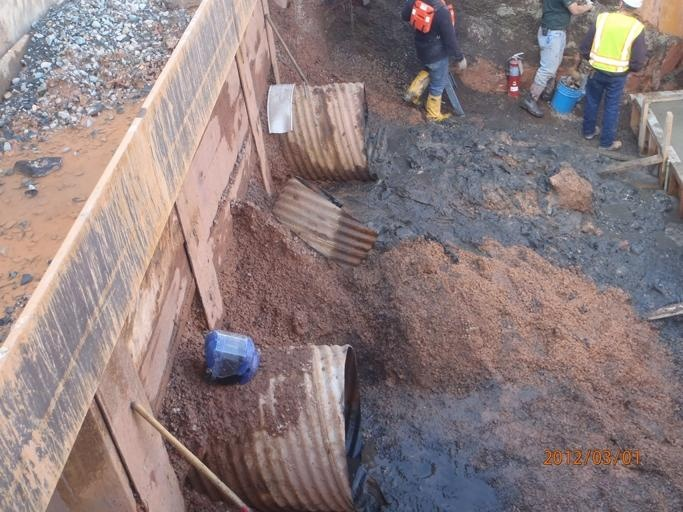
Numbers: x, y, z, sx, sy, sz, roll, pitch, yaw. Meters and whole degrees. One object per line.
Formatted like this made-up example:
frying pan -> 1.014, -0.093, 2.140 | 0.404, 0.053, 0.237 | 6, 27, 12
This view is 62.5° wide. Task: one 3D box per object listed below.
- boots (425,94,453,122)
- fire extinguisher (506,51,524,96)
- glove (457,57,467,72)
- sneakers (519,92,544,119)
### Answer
boots -> 1.545, -2.356, 8.977 | 0.333, 0.290, 0.163 | 26, 70, 13
fire extinguisher -> 2.838, -2.952, 9.170 | 0.257, 0.719, 0.262 | 9, 43, 18
glove -> 1.931, -3.096, 9.026 | 0.144, 0.260, 0.204 | 1, 102, 0
sneakers -> 3.043, -2.404, 9.009 | 0.347, 0.243, 0.138 | 40, 88, 10
